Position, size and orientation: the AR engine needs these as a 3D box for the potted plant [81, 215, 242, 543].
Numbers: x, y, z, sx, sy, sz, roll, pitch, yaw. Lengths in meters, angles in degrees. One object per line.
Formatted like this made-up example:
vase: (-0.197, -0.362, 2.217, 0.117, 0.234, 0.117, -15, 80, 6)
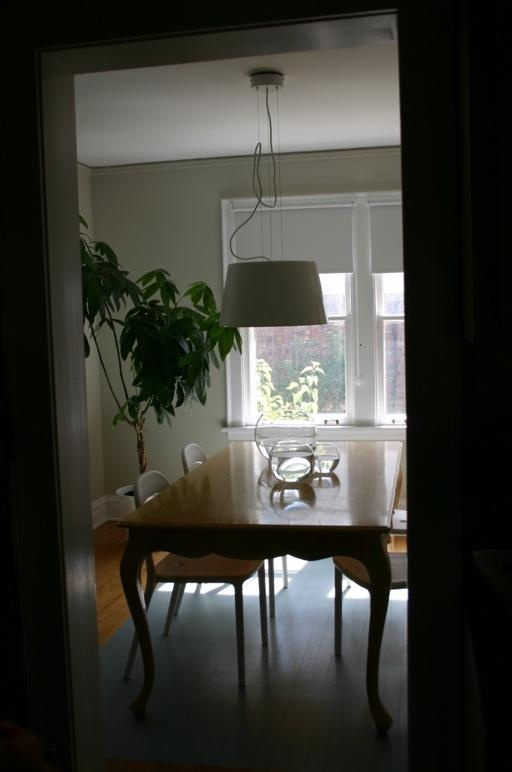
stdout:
potted plant: (-0.515, -0.119, 2.412, 0.458, 1.071, 0.390, -2, 4, -10)
